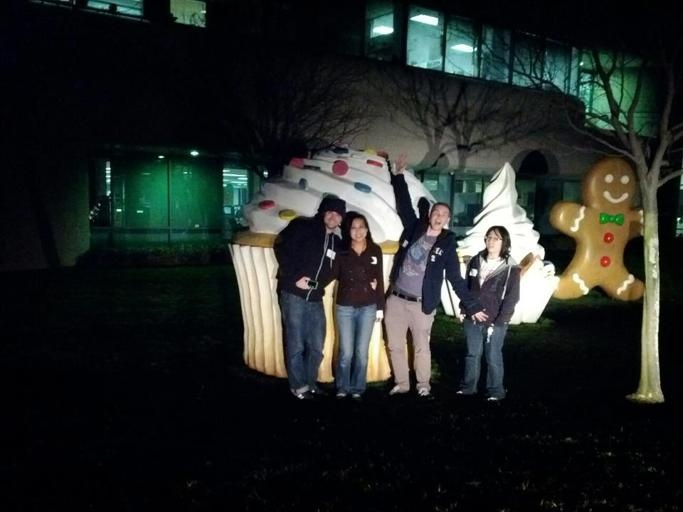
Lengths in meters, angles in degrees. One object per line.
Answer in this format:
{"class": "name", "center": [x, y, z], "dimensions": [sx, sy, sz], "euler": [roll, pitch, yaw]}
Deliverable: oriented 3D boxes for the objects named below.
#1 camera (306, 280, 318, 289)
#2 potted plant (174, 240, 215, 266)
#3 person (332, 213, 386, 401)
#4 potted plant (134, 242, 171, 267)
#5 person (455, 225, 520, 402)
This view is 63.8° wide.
{"class": "camera", "center": [-0.329, 0.324, 6.206], "dimensions": [0.084, 0.095, 0.023], "euler": [0, 10, -17]}
{"class": "potted plant", "center": [-4.037, -0.047, 15.286], "dimensions": [0.697, 0.403, 0.850], "euler": [0, 13, 4]}
{"class": "person", "center": [0.109, 0.568, 6.488], "dimensions": [0.573, 2.102, 0.668], "euler": [4, 9, -7]}
{"class": "potted plant", "center": [-5.097, -0.021, 14.991], "dimensions": [0.887, 0.395, 1.346], "euler": [-2, 9, -19]}
{"class": "person", "center": [1.768, 0.701, 6.625], "dimensions": [0.663, 2.125, 0.710], "euler": [2, 4, 17]}
